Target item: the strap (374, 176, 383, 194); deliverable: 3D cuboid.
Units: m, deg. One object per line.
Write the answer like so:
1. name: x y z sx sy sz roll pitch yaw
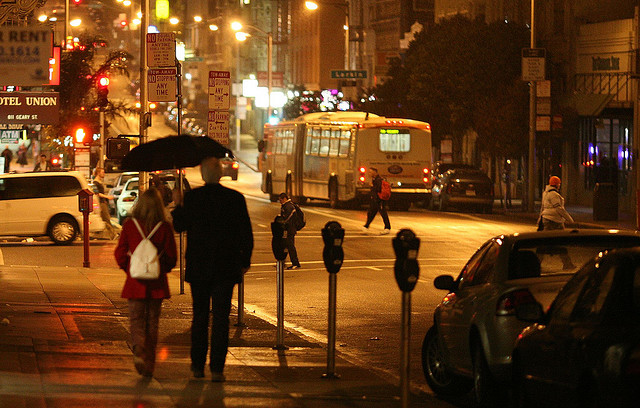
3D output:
1. strap: 2.169 -0.719 33.294 0.198 0.570 0.377 0 3 17

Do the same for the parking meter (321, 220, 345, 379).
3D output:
1. parking meter: 0.164 1.223 11.460 0.309 2.000 0.429 1 1 -5

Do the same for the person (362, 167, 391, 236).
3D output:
1. person: 2.189 -0.154 33.488 1.174 2.688 0.900 0 0 -12

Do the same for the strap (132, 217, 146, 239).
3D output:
1. strap: -2.293 0.310 11.358 0.035 0.282 0.040 -28 -3 -13

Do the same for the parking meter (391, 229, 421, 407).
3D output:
1. parking meter: 0.908 1.168 9.449 0.285 1.736 0.344 2 0 0

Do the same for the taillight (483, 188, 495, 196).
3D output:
1. taillight: 7.790 -0.555 41.296 0.501 0.352 0.108 -1 3 -15

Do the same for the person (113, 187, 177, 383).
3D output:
1. person: -2.216 0.987 11.448 0.735 2.357 1.082 3 7 11

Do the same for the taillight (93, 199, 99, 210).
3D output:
1. taillight: -7.448 0.014 29.857 0.144 0.358 0.516 -1 3 -7

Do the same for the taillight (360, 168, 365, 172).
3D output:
1. taillight: 2.017 -1.574 41.519 0.123 0.128 0.147 3 36 5

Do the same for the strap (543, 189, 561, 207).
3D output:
1. strap: 6.257 -0.191 24.235 0.378 0.418 0.296 0 3 14

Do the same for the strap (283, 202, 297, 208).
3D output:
1. strap: -0.752 0.014 24.501 0.480 0.151 0.176 -3 4 -39

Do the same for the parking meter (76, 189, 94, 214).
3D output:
1. parking meter: -6.319 -0.098 24.069 0.408 0.607 0.418 -2 7 -20

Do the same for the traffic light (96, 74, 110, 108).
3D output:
1. traffic light: -8.746 -4.548 36.132 0.438 1.277 2.102 -1 3 -15
